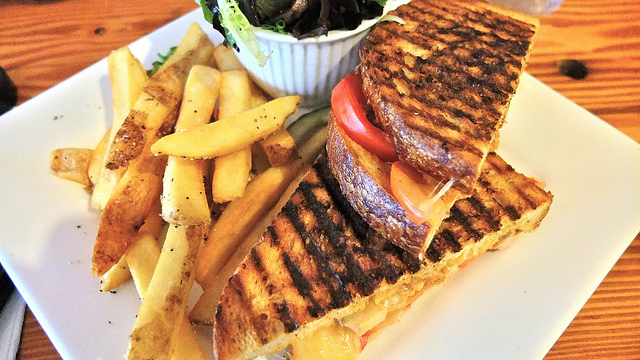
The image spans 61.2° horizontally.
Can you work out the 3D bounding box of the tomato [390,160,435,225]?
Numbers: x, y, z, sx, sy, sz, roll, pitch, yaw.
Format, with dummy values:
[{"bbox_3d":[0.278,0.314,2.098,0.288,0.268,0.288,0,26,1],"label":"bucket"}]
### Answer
[{"bbox_3d":[0.669,0.080,3.979,0.317,0.257,0.343,11,41,11],"label":"tomato"}]
